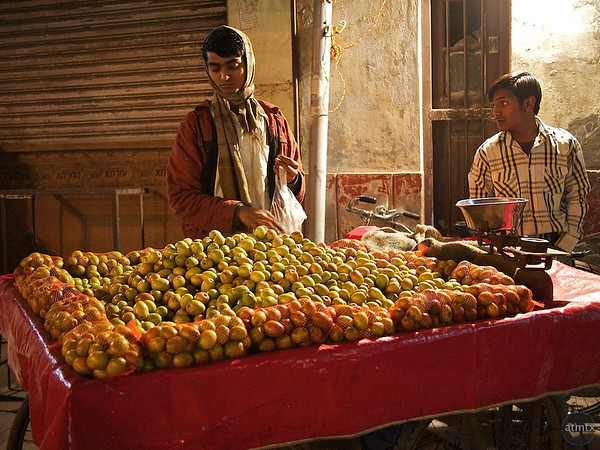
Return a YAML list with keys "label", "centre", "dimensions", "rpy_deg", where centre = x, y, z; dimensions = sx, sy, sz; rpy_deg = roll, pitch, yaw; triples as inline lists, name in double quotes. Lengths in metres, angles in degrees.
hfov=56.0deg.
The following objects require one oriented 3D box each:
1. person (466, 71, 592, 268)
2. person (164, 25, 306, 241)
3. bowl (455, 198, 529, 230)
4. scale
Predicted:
- label: "person"
  centre: [1.696, -0.373, 4.141]
  dimensions: [0.760, 1.373, 0.716]
  rpy_deg: [6, 10, 28]
- label: "person"
  centre: [-0.345, -0.271, 3.410]
  dimensions: [0.824, 1.671, 0.816]
  rpy_deg: [-1, 5, -34]
- label: "bowl"
  centre: [0.877, -0.079, 2.673]
  dimensions: [0.246, 0.162, 0.309]
  rpy_deg: [-2, 8, -10]
- label: "scale"
  centre: [0.949, 0.024, 2.611]
  dimensions: [0.485, 0.377, 0.336]
  rpy_deg: [4, 6, 6]
